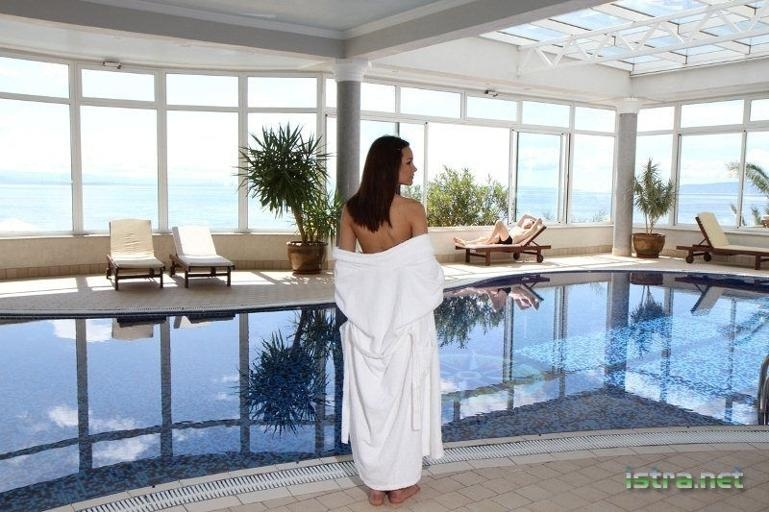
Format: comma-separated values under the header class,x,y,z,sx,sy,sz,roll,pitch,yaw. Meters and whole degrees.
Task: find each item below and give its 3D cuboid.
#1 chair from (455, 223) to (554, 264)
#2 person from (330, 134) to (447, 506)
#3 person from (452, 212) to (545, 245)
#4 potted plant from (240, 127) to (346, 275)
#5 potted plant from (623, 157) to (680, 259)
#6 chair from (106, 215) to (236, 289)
class,x,y,z,sx,sy,sz,roll,pitch,yaw
chair,2.894,-0.274,13.668,2.255,0.862,1.017,0,2,-16
person,0.040,0.418,3.881,0.737,2.440,0.594,-2,10,-5
person,2.848,-0.577,13.665,1.908,0.642,0.949,-1,3,-14
potted plant,-1.941,-1.148,11.364,1.383,2.530,1.717,-13,-9,32
potted plant,7.244,-1.294,15.287,1.039,2.562,1.570,4,10,26
chair,-4.083,-0.036,10.556,1.810,0.837,1.739,-2,7,-28
